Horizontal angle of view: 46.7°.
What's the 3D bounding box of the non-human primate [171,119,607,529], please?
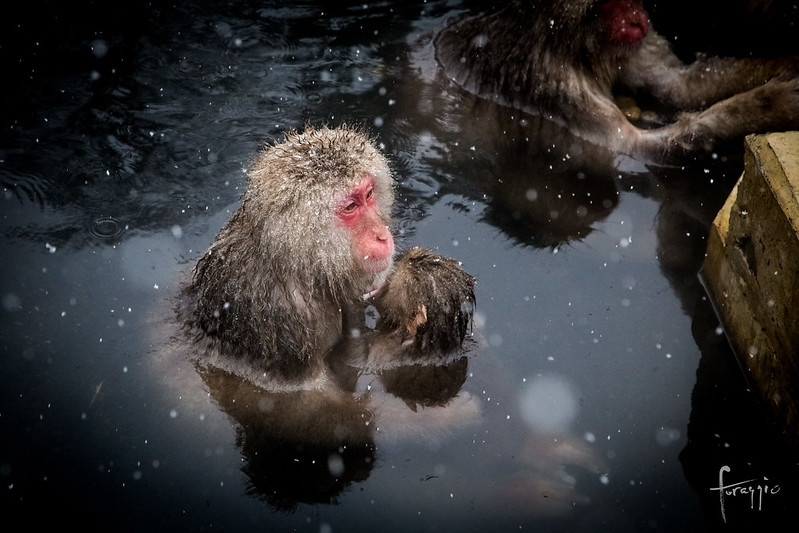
[{"bbox_3d":[0.259,0.060,8.384,4.046,3.125,2.558,11,39,22],"label":"non-human primate"}]
